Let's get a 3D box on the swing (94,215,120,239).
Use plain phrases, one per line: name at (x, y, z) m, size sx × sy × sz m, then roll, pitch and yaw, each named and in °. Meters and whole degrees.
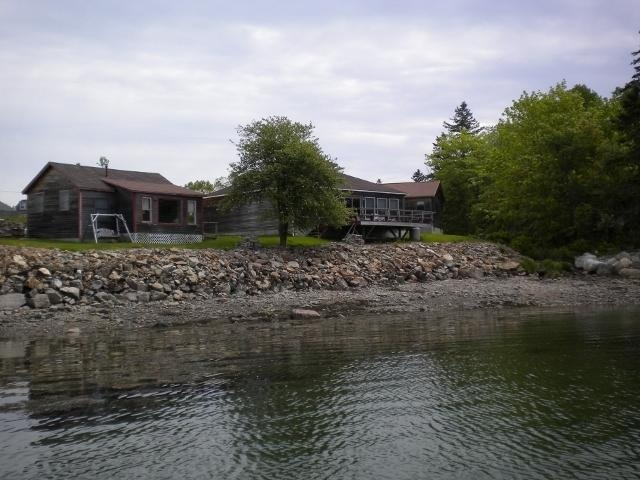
swing at (-14.131, -0.907, 38.972) m, size 1.416 × 1.674 × 1.864 m, roll 1°, pitch 7°, yaw 26°
